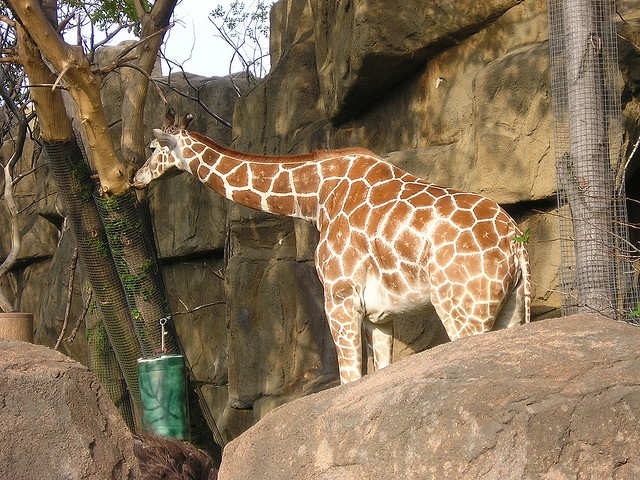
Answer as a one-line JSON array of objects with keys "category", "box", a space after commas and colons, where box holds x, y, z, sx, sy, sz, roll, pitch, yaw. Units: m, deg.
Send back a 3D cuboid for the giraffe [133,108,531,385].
[{"category": "giraffe", "box": [0.322, 0.038, 11.559, 3.042, 2.332, 0.763, -7, -2, 39]}]
